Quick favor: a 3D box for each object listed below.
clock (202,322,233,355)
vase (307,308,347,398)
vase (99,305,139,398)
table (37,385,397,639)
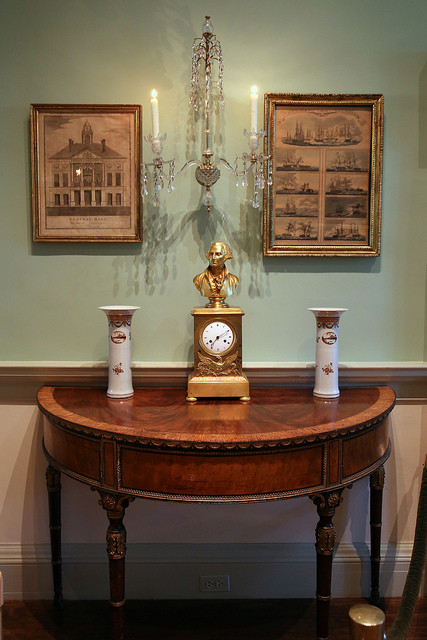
[{"bbox_3d":[0.010,0.061,1.988,0.092,0.097,0.016,7,-4,3],"label":"clock"},{"bbox_3d":[0.381,0.110,2.018,0.101,0.301,0.053,3,11,17],"label":"vase"},{"bbox_3d":[-0.317,0.102,2.043,0.117,0.312,0.146,-2,10,-11],"label":"vase"},{"bbox_3d":[-0.016,0.575,1.955,1.192,0.637,0.636,2,10,11],"label":"table"}]
